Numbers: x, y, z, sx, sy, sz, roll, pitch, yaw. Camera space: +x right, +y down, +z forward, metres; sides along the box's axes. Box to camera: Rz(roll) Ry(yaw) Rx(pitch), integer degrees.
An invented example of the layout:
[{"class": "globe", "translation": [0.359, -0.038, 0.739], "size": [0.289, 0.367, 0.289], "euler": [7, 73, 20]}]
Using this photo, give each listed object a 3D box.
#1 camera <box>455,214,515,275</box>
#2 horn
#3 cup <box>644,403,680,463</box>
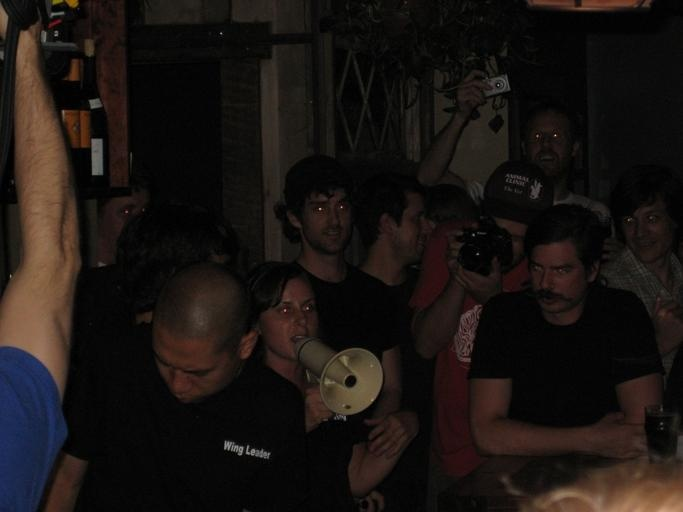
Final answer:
[{"class": "camera", "translation": [0.937, -0.041, 4.834], "size": [0.360, 0.372, 0.407], "euler": [-1, -3, 5]}, {"class": "horn", "translation": [-0.023, 0.557, 3.760], "size": [0.263, 0.341, 0.460], "euler": [-7, 21, -28]}, {"class": "cup", "translation": [1.588, 0.860, 3.622], "size": [0.166, 0.230, 0.288], "euler": [7, 13, 26]}]
